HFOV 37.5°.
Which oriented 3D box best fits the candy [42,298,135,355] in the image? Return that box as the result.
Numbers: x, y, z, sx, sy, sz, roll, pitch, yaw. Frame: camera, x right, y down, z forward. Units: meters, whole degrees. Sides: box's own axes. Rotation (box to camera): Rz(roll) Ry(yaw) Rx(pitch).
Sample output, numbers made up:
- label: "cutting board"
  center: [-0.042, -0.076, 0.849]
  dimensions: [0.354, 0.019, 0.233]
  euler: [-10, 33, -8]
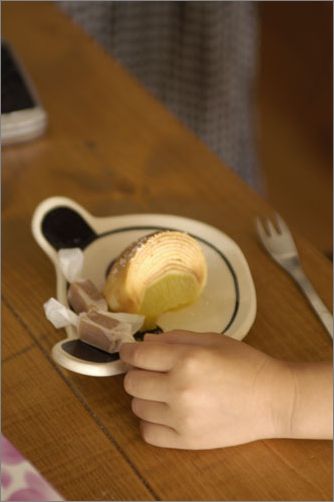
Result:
- label: "candy"
  center: [-0.076, 0.075, 0.485]
  dimensions: [0.085, 0.028, 0.024]
  euler: [19, 33, 14]
